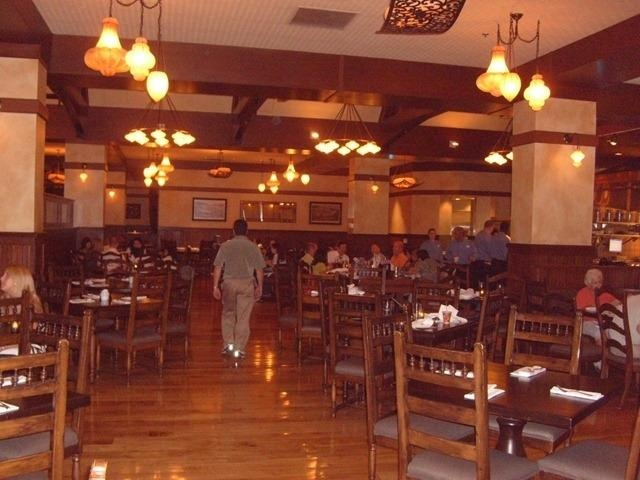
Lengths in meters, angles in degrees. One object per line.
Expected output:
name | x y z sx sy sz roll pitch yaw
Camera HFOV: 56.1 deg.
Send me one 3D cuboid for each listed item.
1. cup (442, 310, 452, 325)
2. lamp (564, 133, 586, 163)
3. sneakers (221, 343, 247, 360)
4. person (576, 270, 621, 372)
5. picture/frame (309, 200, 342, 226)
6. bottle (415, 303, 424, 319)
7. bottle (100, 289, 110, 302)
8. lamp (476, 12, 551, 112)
cup | 1.267 0.800 6.040 0.106 0.123 0.109 0 -6 0
lamp | 3.826 -1.352 8.893 0.401 0.461 0.278 -4 9 -31
sneakers | -1.126 1.450 7.795 0.121 0.158 0.370 -1 -19 20
person | 3.319 0.806 7.201 0.441 0.983 0.395 4 27 32
picture/frame | 0.122 -0.887 20.401 0.807 0.605 0.061 3 -9 -16
bottle | 1.054 0.750 6.258 0.108 0.210 0.111 -1 2 0
bottle | -2.548 0.638 6.986 0.120 0.149 0.124 0 -8 -1
lamp | 2.500 -2.325 7.636 0.791 1.286 0.775 1 -24 31
